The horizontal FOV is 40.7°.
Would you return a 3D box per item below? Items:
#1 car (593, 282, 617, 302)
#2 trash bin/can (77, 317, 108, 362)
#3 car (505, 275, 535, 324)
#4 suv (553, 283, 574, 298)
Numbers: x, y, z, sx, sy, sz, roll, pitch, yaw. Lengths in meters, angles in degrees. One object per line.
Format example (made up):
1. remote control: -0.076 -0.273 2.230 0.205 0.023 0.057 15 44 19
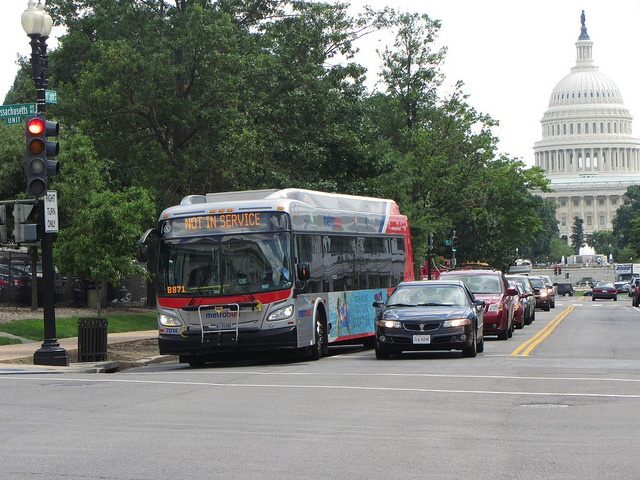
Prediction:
1. car: 27.551 4.937 83.553 1.974 1.657 2.530 0 -6 6
2. trash bin/can: -5.542 2.408 21.003 0.744 1.100 0.761 1 -2 -16
3. car: 9.251 2.523 39.430 1.496 1.392 2.759 -2 -9 12
4. suv: 31.382 6.272 110.627 1.999 1.697 4.603 -1 -6 18
